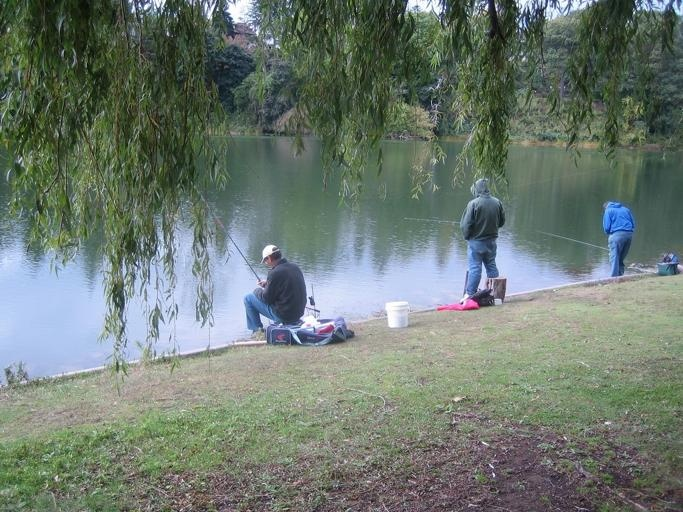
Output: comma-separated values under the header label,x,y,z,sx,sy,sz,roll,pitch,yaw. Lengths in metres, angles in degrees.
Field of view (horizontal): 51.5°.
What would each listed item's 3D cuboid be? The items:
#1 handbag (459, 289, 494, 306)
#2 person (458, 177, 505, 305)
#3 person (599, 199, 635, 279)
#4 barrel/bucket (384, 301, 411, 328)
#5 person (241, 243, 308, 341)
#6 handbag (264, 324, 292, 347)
label,x,y,z,sx,sy,sz,roll,pitch,yaw
handbag,2.086,0.636,10.844,0.468,0.232,0.187,-1,5,-3
person,2.199,-0.340,11.079,0.652,2.166,0.852,0,0,-5
person,4.996,-0.329,12.856,0.569,1.553,0.520,9,13,31
barrel/bucket,0.806,0.821,10.129,0.319,0.314,0.322,-3,2,0
person,-0.929,0.504,10.237,0.748,1.399,0.816,11,21,25
handbag,-0.863,1.079,9.649,0.359,0.320,0.229,2,7,6
